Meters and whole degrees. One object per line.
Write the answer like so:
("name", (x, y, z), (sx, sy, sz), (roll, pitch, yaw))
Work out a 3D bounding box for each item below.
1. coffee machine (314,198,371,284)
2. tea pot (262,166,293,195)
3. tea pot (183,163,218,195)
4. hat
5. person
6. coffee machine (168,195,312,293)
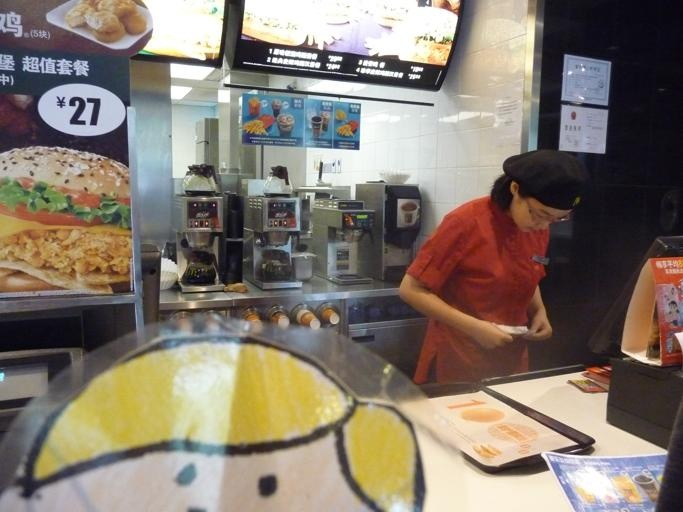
("coffee machine", (-0.010, -0.132, 3.374), (0.271, 0.556, 0.545), (-3, 8, -25))
("tea pot", (-0.423, -0.505, 3.137), (0.160, 0.206, 0.228), (-4, 16, -29))
("tea pot", (-0.858, -0.464, 2.915), (0.203, 0.209, 0.192), (3, 8, 0))
("hat", (0.680, -0.271, 1.677), (0.310, 0.159, 0.222), (29, 21, 31))
("person", (0.559, 0.093, 1.855), (0.643, 1.025, 0.512), (6, 9, 0))
("coffee machine", (-0.623, -0.055, 2.943), (0.962, 0.683, 0.537), (-1, 1, -26))
